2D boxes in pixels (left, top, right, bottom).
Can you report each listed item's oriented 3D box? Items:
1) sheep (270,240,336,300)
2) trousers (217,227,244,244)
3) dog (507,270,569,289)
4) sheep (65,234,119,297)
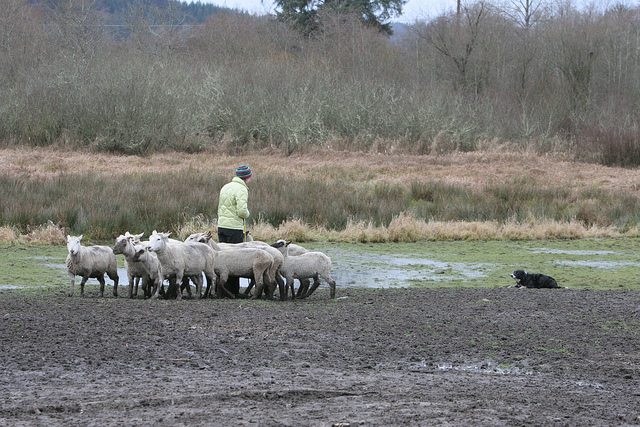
[{"bbox_3d":[-1.020,2.795,55.017,3.460,2.689,1.186,7,-1,-9],"label":"sheep"},{"bbox_3d":[-4.537,1.114,55.790,1.385,0.963,0.787,4,12,19],"label":"trousers"},{"bbox_3d":[10.834,3.249,55.583,2.877,0.951,0.932,3,-5,17],"label":"dog"},{"bbox_3d":[-11.182,2.557,54.260,2.378,2.946,1.030,0,1,-16],"label":"sheep"}]
